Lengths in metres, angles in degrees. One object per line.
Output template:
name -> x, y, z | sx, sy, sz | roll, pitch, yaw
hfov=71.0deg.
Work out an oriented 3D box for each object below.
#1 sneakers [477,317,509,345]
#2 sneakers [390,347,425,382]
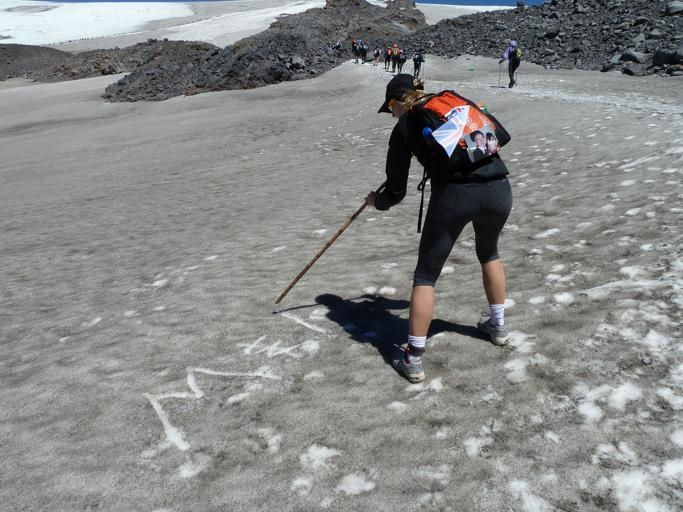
sneakers -> 1.245, 0.598, 3.913 | 0.132, 0.116, 0.305 | -16, 24, -17
sneakers -> 0.487, 0.808, 3.705 | 0.171, 0.130, 0.343 | -17, 32, -17
